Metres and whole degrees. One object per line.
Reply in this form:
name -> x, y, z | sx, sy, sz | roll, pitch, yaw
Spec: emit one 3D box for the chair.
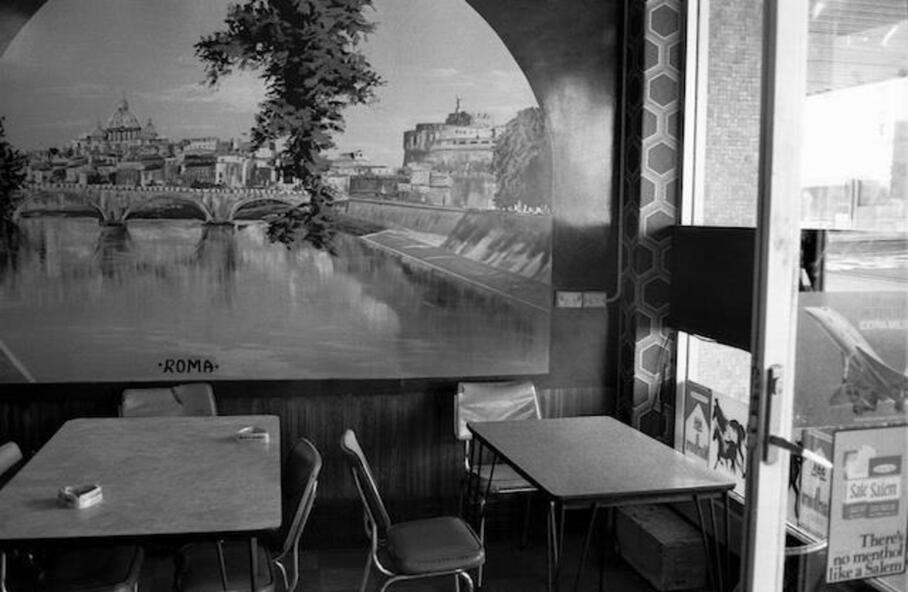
chair -> -0.529, 1.173, 5.266 | 4.432, 1.319, 0.958 | -4, 10, -7
